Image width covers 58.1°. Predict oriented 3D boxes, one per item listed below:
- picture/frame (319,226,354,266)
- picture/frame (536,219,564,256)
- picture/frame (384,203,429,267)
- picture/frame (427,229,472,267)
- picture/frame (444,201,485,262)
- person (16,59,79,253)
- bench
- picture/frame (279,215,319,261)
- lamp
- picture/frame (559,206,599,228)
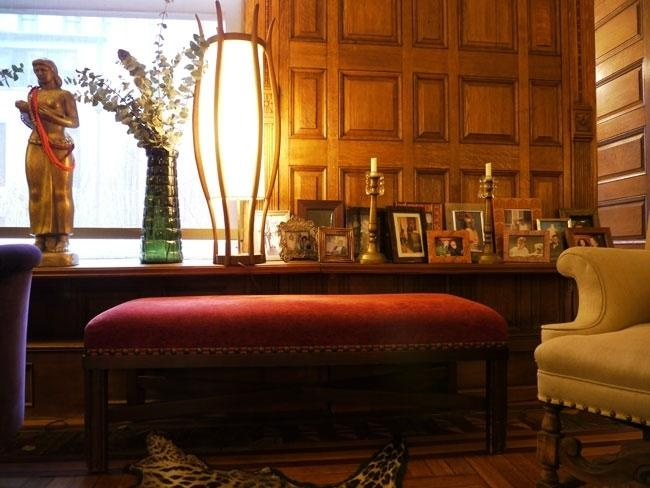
[{"bbox_3d":[0.064,0.001,3.242,0.202,0.180,0.179,-1,12,-1],"label":"picture/frame"},{"bbox_3d":[1.315,-0.032,3.450,0.200,0.266,0.026,3,-14,-13],"label":"picture/frame"},{"bbox_3d":[0.461,-0.041,3.336,0.337,0.467,0.036,2,-21,-17],"label":"picture/frame"},{"bbox_3d":[0.693,0.029,3.305,0.192,0.157,0.025,1,-14,-7],"label":"picture/frame"},{"bbox_3d":[0.848,-0.082,3.474,0.248,0.345,0.027,0,-22,0],"label":"picture/frame"},{"bbox_3d":[-1.412,-0.460,3.048,0.279,0.978,0.291,-7,13,-27],"label":"person"},{"bbox_3d":[-0.122,0.591,2.550,1.750,0.651,0.179,-1,12,-6],"label":"bench"},{"bbox_3d":[-0.146,-0.024,3.293,0.255,0.282,0.018,1,-14,-16],"label":"picture/frame"},{"bbox_3d":[-0.477,-0.586,3.242,0.469,1.385,0.670,-1,12,-4],"label":"lamp"},{"bbox_3d":[1.561,-0.162,3.626,0.128,0.131,0.010,6,-18,-3],"label":"picture/frame"}]
